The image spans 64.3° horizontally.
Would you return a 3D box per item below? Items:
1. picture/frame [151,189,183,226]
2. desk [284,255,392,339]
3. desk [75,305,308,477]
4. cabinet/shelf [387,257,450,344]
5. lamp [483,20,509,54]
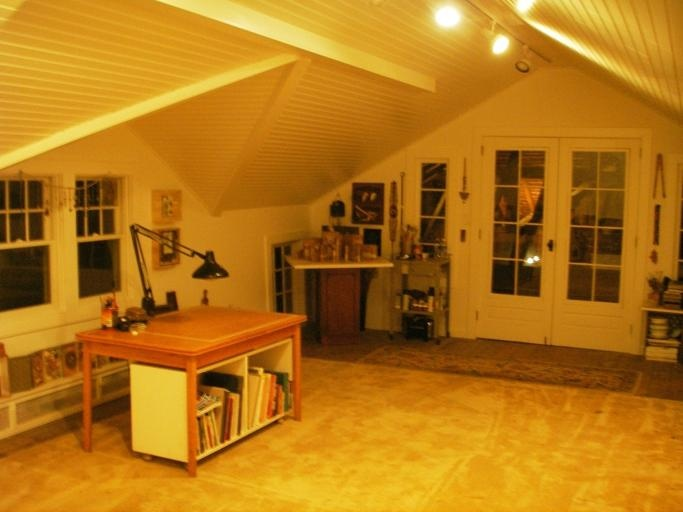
[{"bbox_3d":[-1.851,-0.520,5.718,0.052,0.325,0.446,5,8,31],"label":"picture/frame"},{"bbox_3d":[-0.010,0.517,6.985,1.339,0.896,1.187,0,8,5],"label":"desk"},{"bbox_3d":[-1.233,0.961,4.593,1.577,0.728,1.231,0,8,43],"label":"desk"},{"bbox_3d":[1.062,0.566,7.305,1.046,1.187,1.123,2,7,13],"label":"cabinet/shelf"},{"bbox_3d":[1.389,-1.981,4.878,0.121,0.293,0.203,-32,-22,32],"label":"lamp"}]
